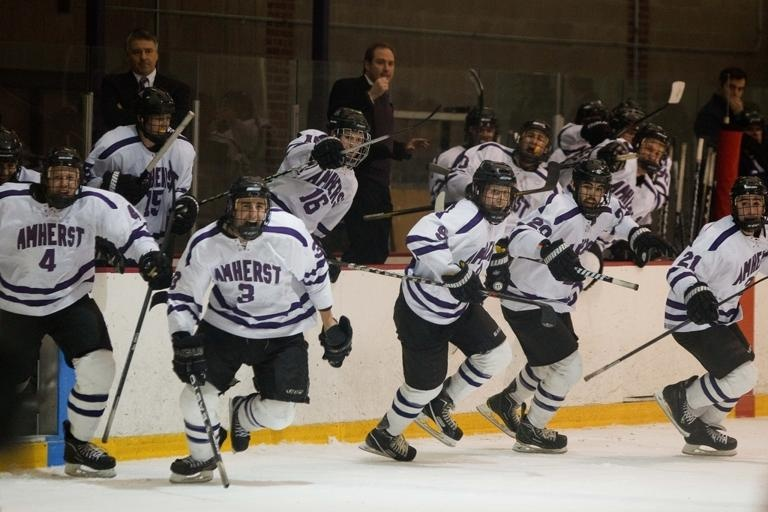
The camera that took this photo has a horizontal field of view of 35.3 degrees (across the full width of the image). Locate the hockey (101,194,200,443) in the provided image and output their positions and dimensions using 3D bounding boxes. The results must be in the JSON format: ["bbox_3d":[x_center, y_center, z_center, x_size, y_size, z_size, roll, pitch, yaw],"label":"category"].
[{"bbox_3d":[-1.524,0.378,7.747,0.061,1.647,0.374,20,1,-22],"label":"hockey"}]

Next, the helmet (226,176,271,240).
[{"bbox_3d":[-0.813,-0.281,7.235,0.259,0.342,0.353,5,4,-16],"label":"helmet"}]

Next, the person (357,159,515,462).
[{"bbox_3d":[0.398,0.375,7.970,0.937,2.003,0.527,5,11,5],"label":"person"}]

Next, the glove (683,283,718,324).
[{"bbox_3d":[2.151,0.326,8.120,0.234,0.287,0.127,6,11,13],"label":"glove"}]

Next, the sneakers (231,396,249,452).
[{"bbox_3d":[-0.917,1.049,7.609,0.113,0.337,0.142,-3,3,-36],"label":"sneakers"}]

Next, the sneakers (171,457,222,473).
[{"bbox_3d":[-1.163,1.286,7.467,0.285,0.127,0.111,8,-4,-18],"label":"sneakers"}]

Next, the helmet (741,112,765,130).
[{"bbox_3d":[2.999,-1.085,9.729,0.122,0.158,0.140,2,51,3],"label":"helmet"}]

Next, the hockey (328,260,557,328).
[{"bbox_3d":[0.415,0.258,8.109,1.256,0.136,0.102,18,-9,-14],"label":"hockey"}]

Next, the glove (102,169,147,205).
[{"bbox_3d":[-1.670,-0.451,7.822,0.263,0.194,0.092,18,48,-4],"label":"glove"}]

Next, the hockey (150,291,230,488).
[{"bbox_3d":[-1.224,0.822,7.562,0.401,1.178,0.087,-19,-1,-22],"label":"hockey"}]

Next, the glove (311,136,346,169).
[{"bbox_3d":[-0.370,-0.677,8.048,0.224,0.213,0.101,3,10,-4],"label":"glove"}]

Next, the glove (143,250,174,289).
[{"bbox_3d":[-1.414,0.093,7.461,0.201,0.254,0.225,2,10,-12],"label":"glove"}]

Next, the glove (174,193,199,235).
[{"bbox_3d":[-1.335,-0.291,7.899,0.083,0.234,0.182,-3,-27,26],"label":"glove"}]
